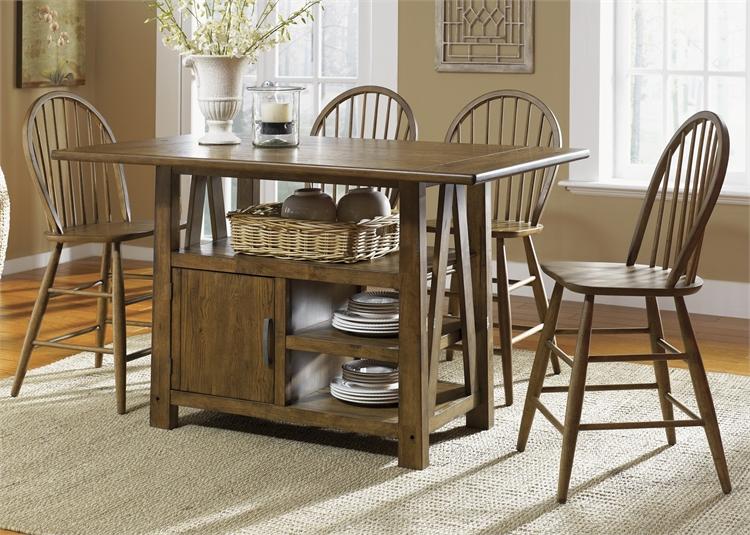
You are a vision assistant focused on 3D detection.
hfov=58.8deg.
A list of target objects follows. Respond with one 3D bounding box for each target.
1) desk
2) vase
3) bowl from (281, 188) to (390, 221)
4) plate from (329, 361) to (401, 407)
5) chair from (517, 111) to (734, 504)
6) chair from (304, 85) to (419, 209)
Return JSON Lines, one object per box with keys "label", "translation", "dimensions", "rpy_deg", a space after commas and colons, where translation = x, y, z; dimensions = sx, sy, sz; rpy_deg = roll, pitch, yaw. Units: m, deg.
{"label": "desk", "translation": [-0.210, 0.134, 2.330], "dimensions": [1.598, 0.771, 0.758], "rpy_deg": [2, 5, 30]}
{"label": "vase", "translation": [-0.586, -0.645, 2.620], "dimensions": [0.398, 0.298, 0.291], "rpy_deg": [6, 9, -2]}
{"label": "bowl", "translation": [-0.146, -0.193, 2.220], "dimensions": [0.273, 0.081, 0.146], "rpy_deg": [1, 0, 8]}
{"label": "plate", "translation": [-0.031, 0.384, 2.181], "dimensions": [0.199, 0.053, 0.171], "rpy_deg": [0, 7, 0]}
{"label": "chair", "translation": [0.759, 0.090, 2.041], "dimensions": [0.769, 1.024, 0.654], "rpy_deg": [-6, 8, 22]}
{"label": "chair", "translation": [-0.096, -0.516, 3.067], "dimensions": [0.565, 0.608, 0.516], "rpy_deg": [-2, 15, -21]}
